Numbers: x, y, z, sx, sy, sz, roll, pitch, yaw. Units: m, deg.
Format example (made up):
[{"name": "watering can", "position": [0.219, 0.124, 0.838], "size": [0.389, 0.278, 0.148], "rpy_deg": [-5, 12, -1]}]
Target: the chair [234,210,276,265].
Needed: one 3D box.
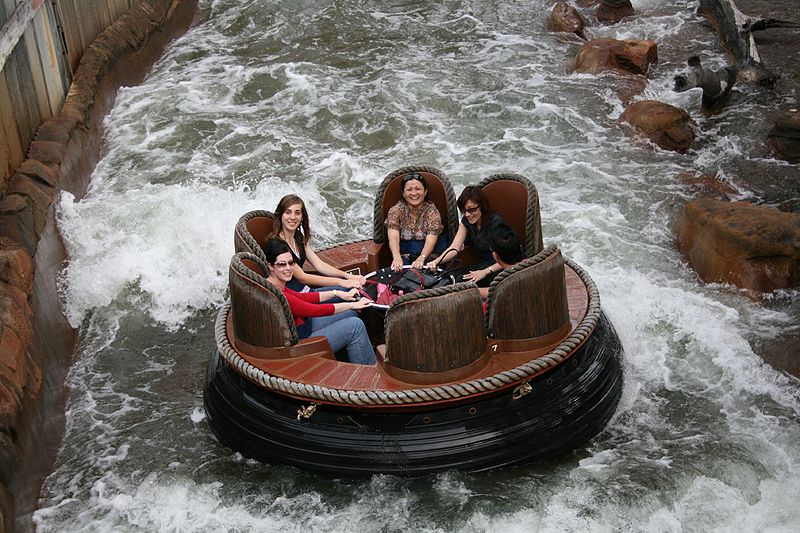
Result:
[{"name": "chair", "position": [-1.511, -0.237, 6.925], "size": [0.469, 0.559, 0.489], "rpy_deg": [12, 46, -2]}]

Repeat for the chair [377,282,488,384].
[{"name": "chair", "position": [0.340, 0.579, 6.124], "size": [0.899, 0.710, 0.865], "rpy_deg": [-11, 16, -32]}]

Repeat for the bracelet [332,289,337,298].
[{"name": "bracelet", "position": [-0.706, 0.292, 6.805], "size": [0.045, 0.071, 0.068], "rpy_deg": [-1, -5, -11]}]

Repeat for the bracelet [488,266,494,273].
[{"name": "bracelet", "position": [1.025, 0.037, 7.159], "size": [0.054, 0.062, 0.055], "rpy_deg": [0, 0, 8]}]

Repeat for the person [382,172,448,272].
[{"name": "person", "position": [0.140, -0.436, 7.548], "size": [0.632, 1.120, 0.955], "rpy_deg": [1, 21, 14]}]

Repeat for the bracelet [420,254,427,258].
[{"name": "bracelet", "position": [0.274, -0.113, 7.467], "size": [0.031, 0.046, 0.046], "rpy_deg": [-2, 2, -38]}]

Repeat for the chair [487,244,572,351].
[{"name": "chair", "position": [1.324, 0.302, 6.714], "size": [0.997, 1.131, 1.010], "rpy_deg": [-7, 10, 11]}]

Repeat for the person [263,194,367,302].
[{"name": "person", "position": [-0.749, -0.229, 6.976], "size": [1.335, 1.453, 0.663], "rpy_deg": [4, 40, -1]}]

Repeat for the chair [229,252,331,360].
[{"name": "chair", "position": [-1.248, 0.333, 6.658], "size": [1.053, 0.965, 0.983], "rpy_deg": [1, 19, -16]}]
